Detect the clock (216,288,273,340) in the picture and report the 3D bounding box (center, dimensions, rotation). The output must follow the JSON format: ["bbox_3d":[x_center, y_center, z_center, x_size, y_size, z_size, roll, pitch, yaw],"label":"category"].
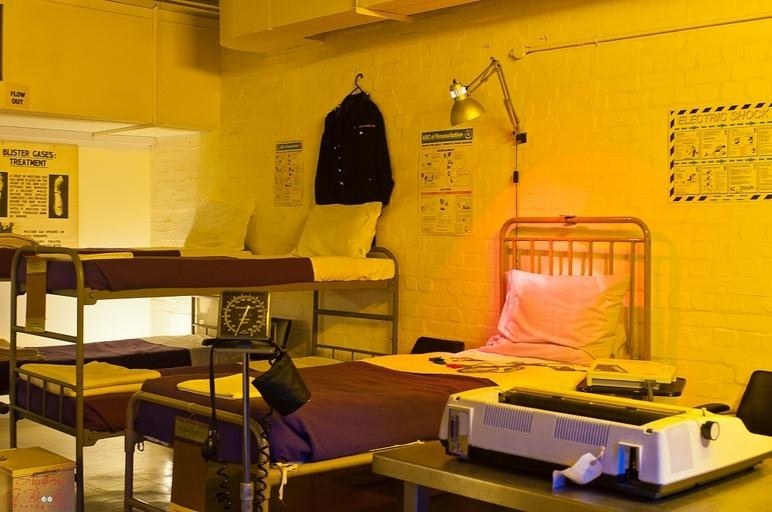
[{"bbox_3d":[-0.479,0.201,2.130,0.271,0.216,0.059,0,-10,-3],"label":"clock"}]

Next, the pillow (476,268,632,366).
[{"bbox_3d":[1.090,0.375,4.016,0.892,0.461,0.460,2,20,43],"label":"pillow"}]

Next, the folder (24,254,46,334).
[{"bbox_3d":[-2.089,0.234,3.752,0.191,0.475,0.038,1,0,27],"label":"folder"}]

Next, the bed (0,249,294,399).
[{"bbox_3d":[-1.399,0.219,4.144,1.644,0.921,1.214,2,-2,-40],"label":"bed"}]

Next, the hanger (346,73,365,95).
[{"bbox_3d":[-0.236,-1.423,5.263,0.124,0.176,0.052,8,14,25],"label":"hanger"}]

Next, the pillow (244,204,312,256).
[{"bbox_3d":[-0.978,-0.225,5.898,0.139,0.466,0.561,12,5,-46],"label":"pillow"}]

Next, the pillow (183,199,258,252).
[{"bbox_3d":[-1.574,-0.260,5.978,0.613,0.510,0.140,1,-20,27],"label":"pillow"}]

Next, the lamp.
[{"bbox_3d":[0.690,-1.091,4.309,0.448,0.621,0.548,2,3,30],"label":"lamp"}]
